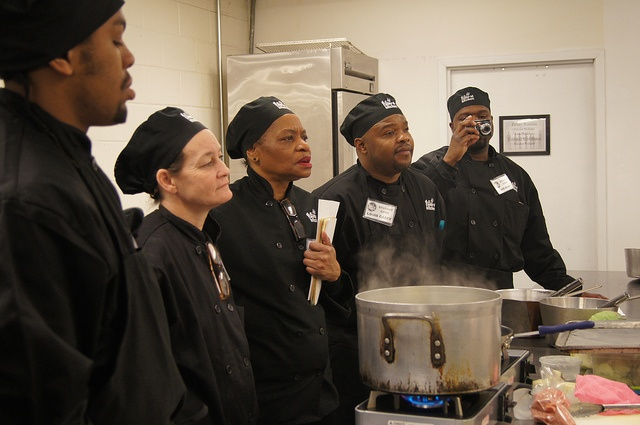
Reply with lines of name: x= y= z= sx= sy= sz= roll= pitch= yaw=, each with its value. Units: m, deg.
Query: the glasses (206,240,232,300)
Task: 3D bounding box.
glasses: x=-0.341 y=0.203 z=1.788 sx=0.072 sy=0.271 sz=0.068 roll=-7 pitch=-23 yaw=-21

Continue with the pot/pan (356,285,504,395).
pot/pan: x=0.327 y=0.384 z=1.594 sx=0.319 sy=0.221 sz=0.424 roll=-2 pitch=-2 yaw=17

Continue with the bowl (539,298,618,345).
bowl: x=1.143 y=0.487 z=2.357 sx=0.307 sy=0.197 sz=0.382 roll=-2 pitch=0 yaw=28

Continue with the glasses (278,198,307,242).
glasses: x=-0.105 y=0.025 z=2.082 sx=0.041 sy=0.170 sz=0.094 roll=-20 pitch=-3 yaw=34

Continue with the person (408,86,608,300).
person: x=1.219 y=-0.103 z=3.573 sx=1.265 sy=1.831 sz=0.966 roll=1 pitch=-4 yaw=-32

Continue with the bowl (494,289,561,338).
bowl: x=0.958 y=0.464 z=2.496 sx=0.171 sy=0.131 sz=0.180 roll=-13 pitch=0 yaw=0

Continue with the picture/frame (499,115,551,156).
picture/frame: x=1.827 y=-0.685 z=4.668 sx=0.476 sy=0.466 sz=0.066 roll=0 pitch=3 yaw=8

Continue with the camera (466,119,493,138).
camera: x=0.909 y=-0.450 z=2.970 sx=0.124 sy=0.099 sz=0.079 roll=-4 pitch=4 yaw=-33
